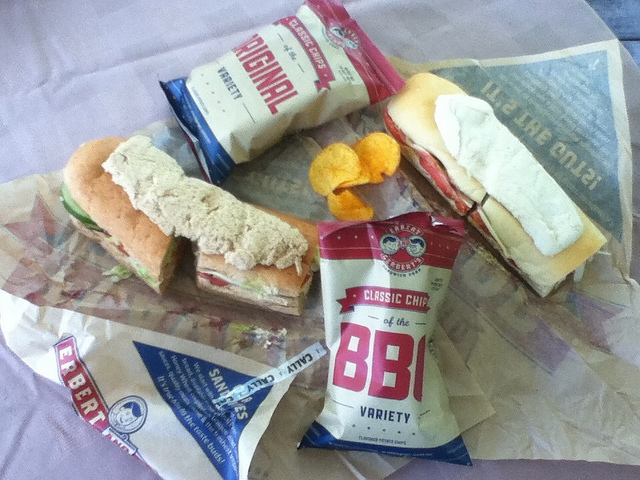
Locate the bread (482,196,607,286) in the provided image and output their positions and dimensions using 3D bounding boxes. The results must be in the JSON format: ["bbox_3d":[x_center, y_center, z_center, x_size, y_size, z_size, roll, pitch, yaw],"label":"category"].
[{"bbox_3d":[0.916,0.004,2.329,0.373,0.101,0.374,-39,87,3],"label":"bread"}]

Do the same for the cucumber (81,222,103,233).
[{"bbox_3d":[-0.859,-0.050,2.158,0.108,0.027,0.028,20,100,21],"label":"cucumber"}]
